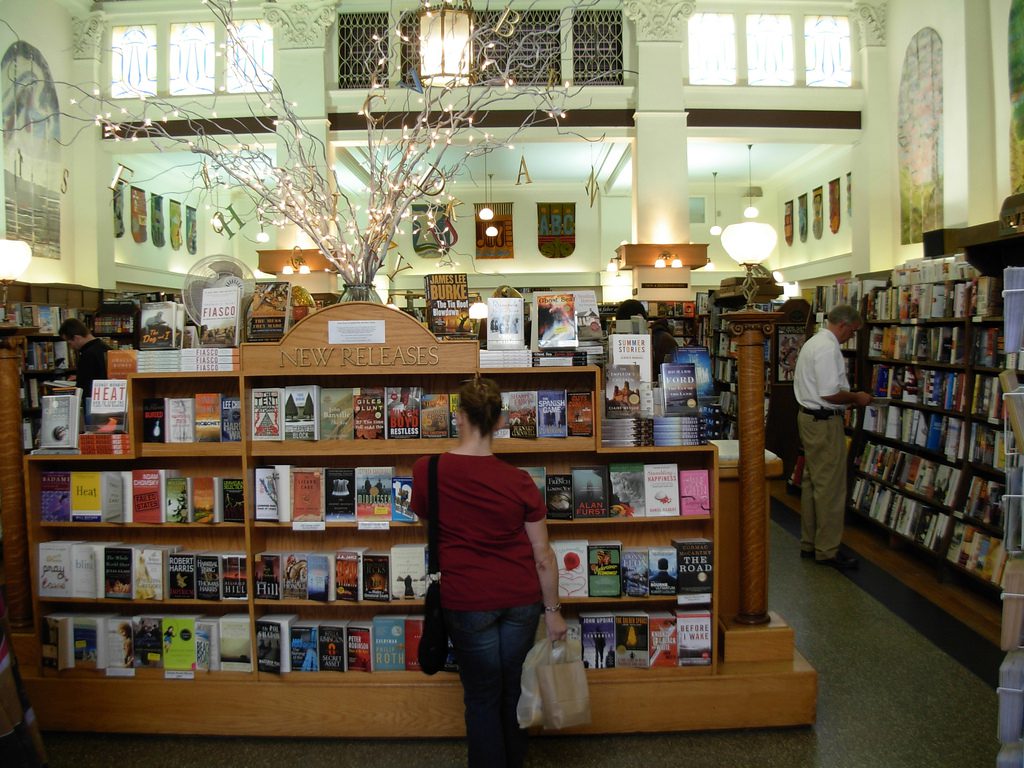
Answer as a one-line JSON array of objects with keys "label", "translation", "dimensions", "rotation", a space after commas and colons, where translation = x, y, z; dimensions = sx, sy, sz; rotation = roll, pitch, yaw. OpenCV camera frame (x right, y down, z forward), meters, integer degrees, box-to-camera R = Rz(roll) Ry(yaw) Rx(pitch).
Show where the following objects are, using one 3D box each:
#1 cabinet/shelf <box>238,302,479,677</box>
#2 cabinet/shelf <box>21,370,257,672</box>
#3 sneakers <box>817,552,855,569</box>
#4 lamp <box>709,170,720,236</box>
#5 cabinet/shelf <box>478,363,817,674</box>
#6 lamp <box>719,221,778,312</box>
[{"label": "cabinet/shelf", "translation": [-0.946, 0.652, 5.770], "dimensions": [2.065, 2.559, 0.786], "rotation": [0, -1, -1]}, {"label": "cabinet/shelf", "translation": [-2.347, 0.913, 6.001], "dimensions": [1.663, 2.564, 0.780], "rotation": [-1, -1, -2]}, {"label": "sneakers", "translation": [2.833, 1.530, 8.180], "dimensions": [0.290, 0.139, 0.110], "rotation": [-5, -2, 36]}, {"label": "lamp", "translation": [4.166, -3.645, 19.241], "dimensions": [0.241, 1.210, 1.335], "rotation": [-3, 5, 13]}, {"label": "cabinet/shelf", "translation": [0.797, 0.875, 5.883], "dimensions": [1.835, 1.919, 0.642], "rotation": [0, -4, -6]}, {"label": "lamp", "translation": [1.671, -0.837, 6.554], "dimensions": [0.351, 0.605, 0.859], "rotation": [-3, 5, 16]}]
